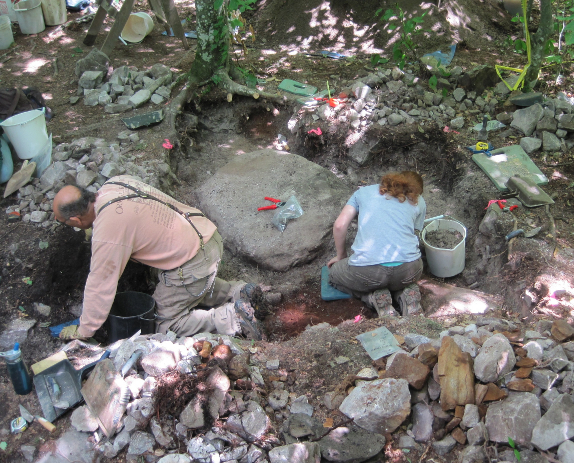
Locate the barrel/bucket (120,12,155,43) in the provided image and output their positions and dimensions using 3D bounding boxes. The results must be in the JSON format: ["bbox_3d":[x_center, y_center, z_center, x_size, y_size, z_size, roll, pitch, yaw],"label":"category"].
[{"bbox_3d":[-2.278,-3.056,7.008,0.498,0.431,0.371,21,32,5],"label":"barrel/bucket"}]

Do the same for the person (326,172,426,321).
[{"bbox_3d":[0.876,0.055,4.204,0.985,1.305,0.858,2,0,-19],"label":"person"}]

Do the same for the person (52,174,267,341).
[{"bbox_3d":[-1.064,0.275,3.949,1.738,1.288,1.042,-2,22,0],"label":"person"}]

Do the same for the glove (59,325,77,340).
[{"bbox_3d":[-1.638,0.752,3.497,0.095,0.039,0.121,23,55,25],"label":"glove"}]

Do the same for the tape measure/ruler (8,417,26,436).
[{"bbox_3d":[-1.822,1.297,3.133,0.105,0.038,0.099,0,36,0],"label":"tape measure/ruler"}]

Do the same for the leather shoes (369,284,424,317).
[{"bbox_3d":[0.938,0.603,3.976,0.262,0.195,0.408,-16,17,-11],"label":"leather shoes"}]

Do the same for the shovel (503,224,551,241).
[{"bbox_3d":[2.091,0.012,4.041,0.292,0.138,0.099,-26,65,-3],"label":"shovel"}]

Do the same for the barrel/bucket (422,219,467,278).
[{"bbox_3d":[1.539,0.145,4.378,0.473,0.352,0.435,-10,37,8],"label":"barrel/bucket"}]

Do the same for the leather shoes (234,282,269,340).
[{"bbox_3d":[-0.287,0.670,3.950,0.295,0.400,0.177,-16,-15,35],"label":"leather shoes"}]
